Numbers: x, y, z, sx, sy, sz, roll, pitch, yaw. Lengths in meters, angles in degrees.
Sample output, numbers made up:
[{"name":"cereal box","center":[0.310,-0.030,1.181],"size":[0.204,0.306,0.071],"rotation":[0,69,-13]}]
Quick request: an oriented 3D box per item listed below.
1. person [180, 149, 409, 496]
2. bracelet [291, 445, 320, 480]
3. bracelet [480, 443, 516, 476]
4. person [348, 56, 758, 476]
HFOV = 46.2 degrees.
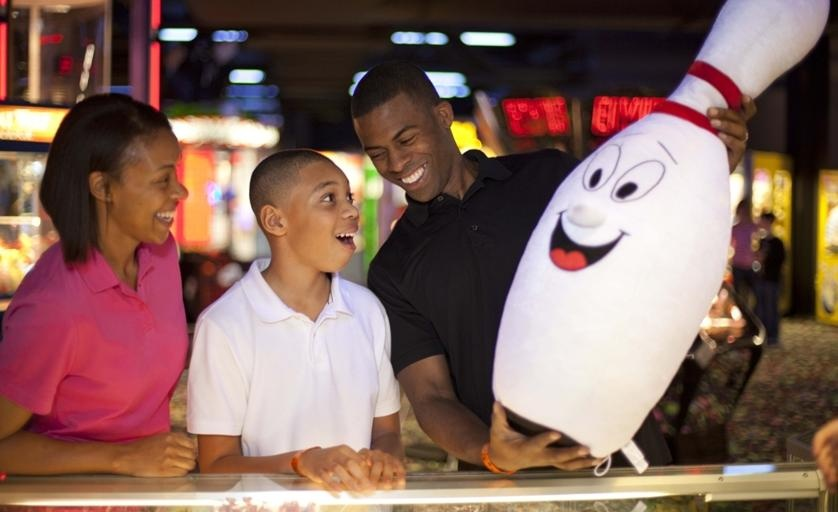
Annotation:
[{"name":"person","center":[-0.618,0.286,5.044],"size":[1.120,1.691,0.606],"rotation":[2,2,-1]},{"name":"bracelet","center":[-0.559,1.017,4.888],"size":[0.114,0.118,0.137],"rotation":[0,3,-43]},{"name":"bracelet","center":[0.395,1.009,4.873],"size":[0.149,0.130,0.264],"rotation":[2,2,-3]},{"name":"person","center":[0.440,0.050,5.378],"size":[1.569,2.264,1.066],"rotation":[3,3,37]}]
